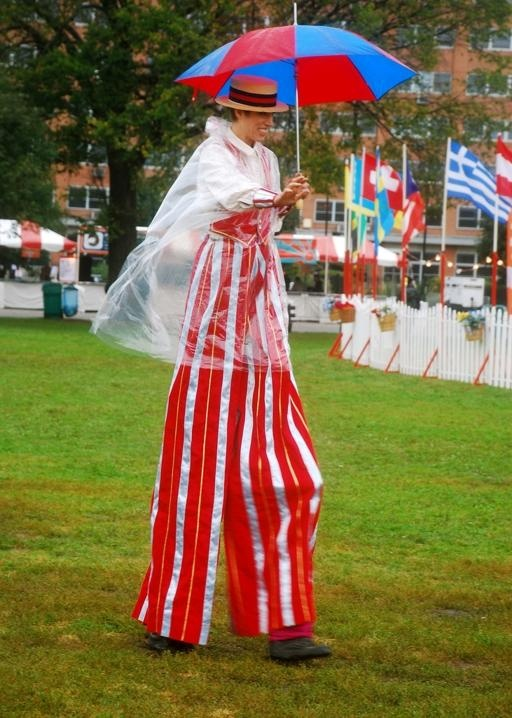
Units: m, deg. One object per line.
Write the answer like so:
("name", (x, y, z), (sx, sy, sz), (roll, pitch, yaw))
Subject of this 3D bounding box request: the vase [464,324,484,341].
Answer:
("vase", (2.074, -0.257, 14.040), (0.138, 0.098, 0.151), (1, -5, -33))

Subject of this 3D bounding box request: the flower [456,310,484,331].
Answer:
("flower", (2.053, -0.371, 13.971), (0.216, 0.131, 0.203), (2, -1, -9))

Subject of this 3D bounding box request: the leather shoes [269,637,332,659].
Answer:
("leather shoes", (0.180, 1.227, 6.323), (0.294, 0.117, 0.093), (-3, 7, 3))

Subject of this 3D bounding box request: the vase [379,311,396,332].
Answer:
("vase", (1.410, -0.409, 15.905), (0.192, 0.134, 0.189), (0, -10, -8))

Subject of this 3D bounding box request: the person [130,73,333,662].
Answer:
("person", (-0.085, 0.008, 6.389), (0.786, 2.449, 0.701), (3, 9, 2))

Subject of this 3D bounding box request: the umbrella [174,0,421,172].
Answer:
("umbrella", (0.215, -1.346, 6.791), (1.051, 0.769, 0.948), (0, 7, 16))

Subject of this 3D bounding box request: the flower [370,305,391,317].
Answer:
("flower", (1.375, -0.530, 15.989), (0.129, 0.082, 0.125), (2, -7, -41))

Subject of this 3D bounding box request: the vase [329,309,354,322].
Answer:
("vase", (1.025, -0.540, 17.501), (0.184, 0.123, 0.208), (1, -5, -25))

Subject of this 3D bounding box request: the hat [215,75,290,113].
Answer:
("hat", (-0.044, -1.169, 6.487), (0.201, 0.064, 0.181), (20, 29, 30))
